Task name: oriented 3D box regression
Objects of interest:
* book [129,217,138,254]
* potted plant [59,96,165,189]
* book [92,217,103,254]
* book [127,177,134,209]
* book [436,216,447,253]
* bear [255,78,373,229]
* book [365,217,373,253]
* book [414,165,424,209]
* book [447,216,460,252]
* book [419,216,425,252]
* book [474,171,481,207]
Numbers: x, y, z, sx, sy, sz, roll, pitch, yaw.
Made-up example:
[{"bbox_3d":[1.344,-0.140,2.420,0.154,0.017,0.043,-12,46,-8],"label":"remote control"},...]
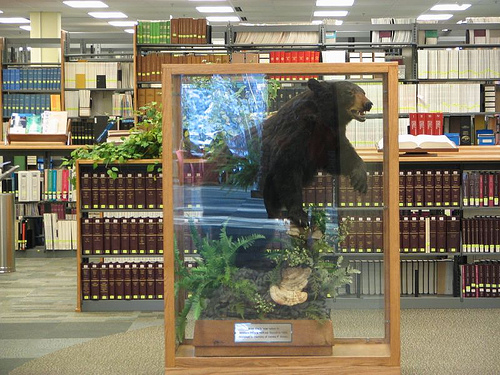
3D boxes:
[{"bbox_3d":[-1.205,0.503,7.297,0.093,0.357,0.054,-1,8,5],"label":"book"},{"bbox_3d":[-1.640,-0.526,8.340,1.297,1.245,0.503,-1,-1,0],"label":"potted plant"},{"bbox_3d":[-1.572,0.492,7.295,0.116,0.344,0.353,-1,-1,-4],"label":"book"},{"bbox_3d":[-1.237,0.053,7.297,0.073,0.313,0.056,-1,8,0],"label":"book"},{"bbox_3d":[1.954,0.483,7.246,0.110,0.363,0.077,-1,8,6],"label":"book"},{"bbox_3d":[0.419,-0.261,5.529,0.668,0.993,1.191,0,-9,-42],"label":"bear"},{"bbox_3d":[0.879,0.359,5.259,0.054,0.276,0.115,0,8,12],"label":"book"},{"bbox_3d":[1.713,0.016,7.185,0.106,0.382,0.096,1,8,14],"label":"book"},{"bbox_3d":[2.073,0.479,7.241,0.120,0.354,0.075,1,8,15],"label":"book"},{"bbox_3d":[1.756,0.481,7.243,0.055,0.349,0.063,0,8,10],"label":"book"},{"bbox_3d":[2.315,0.023,7.221,0.075,0.341,0.055,-1,8,2],"label":"book"}]
